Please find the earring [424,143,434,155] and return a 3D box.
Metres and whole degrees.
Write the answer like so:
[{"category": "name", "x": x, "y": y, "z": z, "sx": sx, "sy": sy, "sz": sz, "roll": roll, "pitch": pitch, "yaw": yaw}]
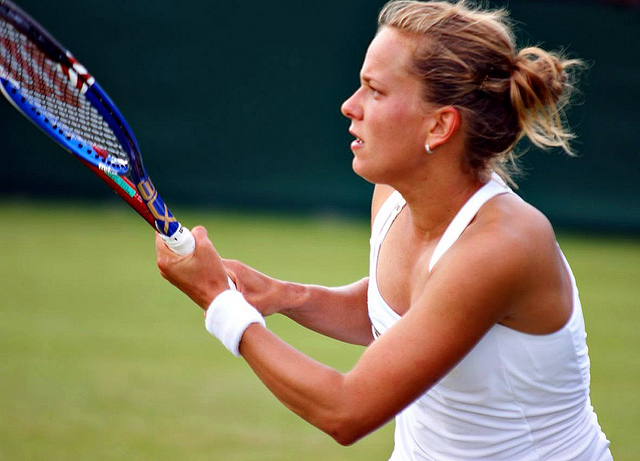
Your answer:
[{"category": "earring", "x": 0.474, "y": -0.355, "z": 3.567, "sx": 0.043, "sy": 0.045, "sz": 0.011, "roll": 14, "pitch": 29, "yaw": 15}]
